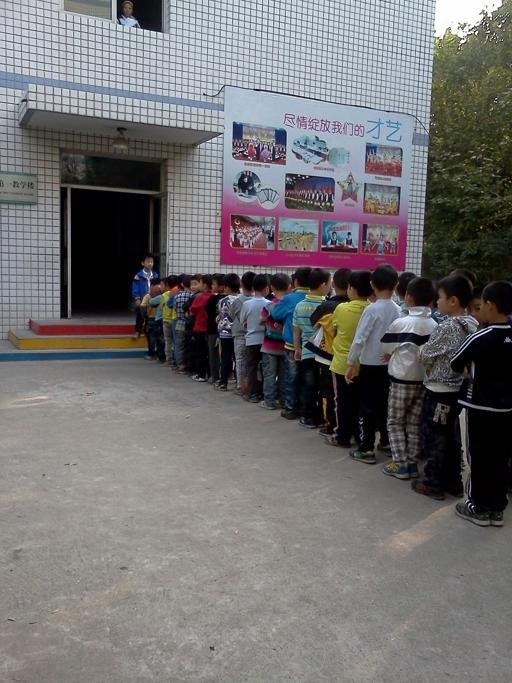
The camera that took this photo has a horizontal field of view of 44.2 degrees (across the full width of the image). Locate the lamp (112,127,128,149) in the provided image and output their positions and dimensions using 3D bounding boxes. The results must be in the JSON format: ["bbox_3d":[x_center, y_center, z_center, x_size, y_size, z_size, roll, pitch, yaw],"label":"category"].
[{"bbox_3d":[-1.893,-2.764,8.697,0.250,0.286,0.263,5,10,-4],"label":"lamp"}]

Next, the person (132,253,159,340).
[{"bbox_3d":[-1.466,-0.616,8.516,0.329,1.009,0.267,1,13,-1],"label":"person"}]
